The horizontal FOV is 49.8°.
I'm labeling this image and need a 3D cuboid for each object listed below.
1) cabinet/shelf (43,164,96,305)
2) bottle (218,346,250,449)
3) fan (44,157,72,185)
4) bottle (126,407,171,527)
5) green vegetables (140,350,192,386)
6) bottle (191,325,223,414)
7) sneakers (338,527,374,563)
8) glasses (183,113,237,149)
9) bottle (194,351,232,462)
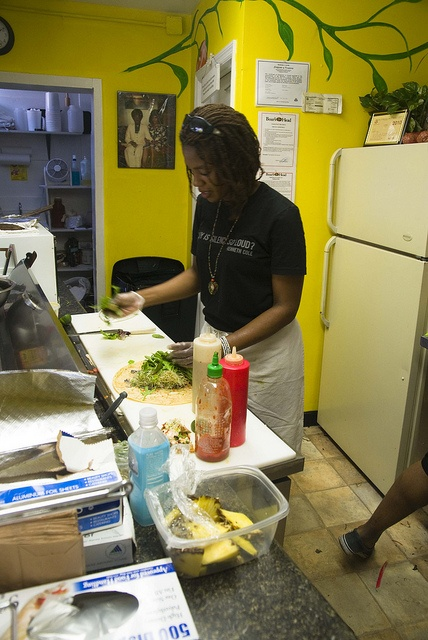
[{"bbox_3d":[-1.328,-0.891,4.790,0.708,1.842,0.685,-4,16,-18],"label":"cabinet/shelf"},{"bbox_3d":[0.036,0.181,1.059,0.081,0.200,0.073,-1,20,-21],"label":"bottle"},{"bbox_3d":[-1.607,-1.522,4.727,0.290,0.337,0.189,-7,12,-32],"label":"fan"},{"bbox_3d":[-0.110,0.253,0.785,0.084,0.196,0.082,0,9,0],"label":"bottle"},{"bbox_3d":[-0.144,0.141,1.428,0.118,0.093,0.127,-9,19,-30],"label":"green vegetables"},{"bbox_3d":[-0.032,0.134,1.167,0.075,0.238,0.074,8,-10,2],"label":"bottle"},{"bbox_3d":[0.602,0.949,1.963,0.081,0.176,0.085,27,73,45],"label":"sneakers"},{"bbox_3d":[-0.039,-0.552,1.313,0.140,0.075,0.058,6,15,24],"label":"glasses"},{"bbox_3d":[-0.004,0.183,0.958,0.077,0.247,0.118,0,13,2],"label":"bottle"}]
